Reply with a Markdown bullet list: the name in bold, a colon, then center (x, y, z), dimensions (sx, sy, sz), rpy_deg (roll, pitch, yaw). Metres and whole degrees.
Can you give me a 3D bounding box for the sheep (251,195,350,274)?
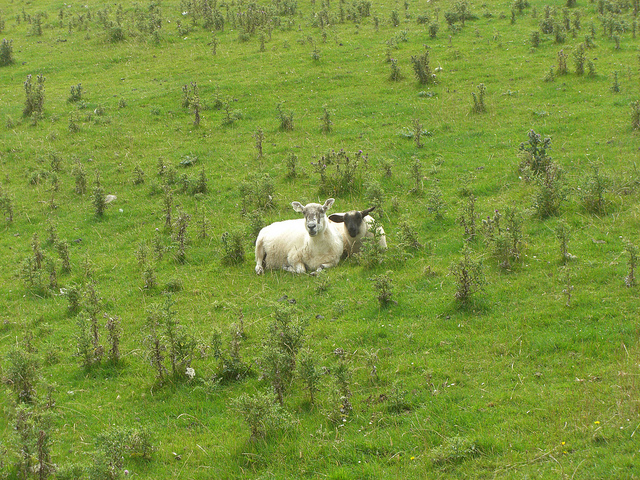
- **sheep**: center (-0.849, -0.115, 36.615), dimensions (2.624, 2.847, 2.836), rpy_deg (0, 21, -15)
